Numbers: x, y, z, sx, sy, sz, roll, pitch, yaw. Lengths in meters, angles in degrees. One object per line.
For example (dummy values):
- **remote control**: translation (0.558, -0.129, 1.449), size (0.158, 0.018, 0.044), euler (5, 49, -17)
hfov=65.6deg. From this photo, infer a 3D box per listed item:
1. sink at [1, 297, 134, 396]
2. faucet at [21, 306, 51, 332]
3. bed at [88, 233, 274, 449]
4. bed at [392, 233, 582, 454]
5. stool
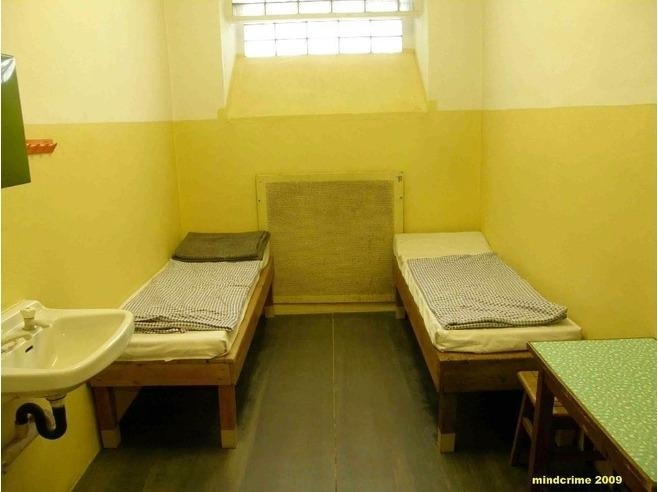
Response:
- **sink**: translation (-1.074, 0.400, 2.109), size (0.360, 0.260, 0.489), euler (5, 20, -9)
- **faucet**: translation (-1.232, 0.307, 2.138), size (0.131, 0.086, 0.047), euler (17, 23, 10)
- **bed**: translation (-0.863, 0.537, 3.535), size (0.828, 0.558, 1.895), euler (-1, 14, -3)
- **bed**: translation (0.947, 0.500, 3.513), size (0.824, 0.670, 1.983), euler (-2, 14, 0)
- **stool**: translation (1.133, 0.790, 2.439), size (0.360, 0.268, 0.366), euler (15, -11, 40)
